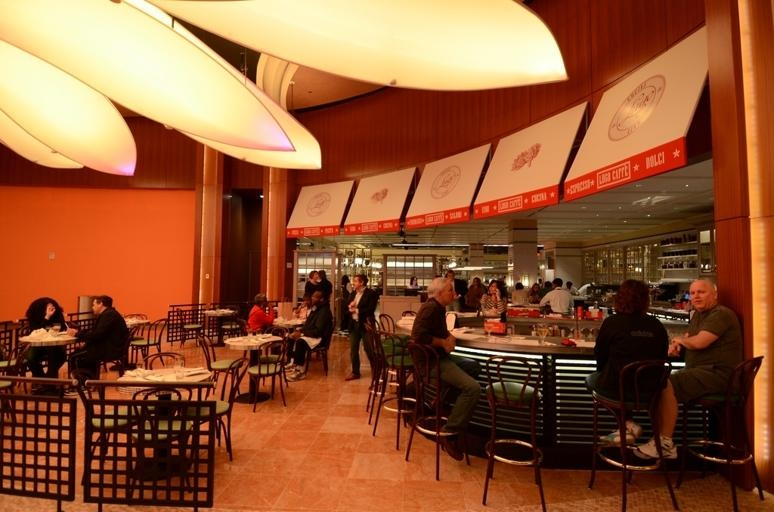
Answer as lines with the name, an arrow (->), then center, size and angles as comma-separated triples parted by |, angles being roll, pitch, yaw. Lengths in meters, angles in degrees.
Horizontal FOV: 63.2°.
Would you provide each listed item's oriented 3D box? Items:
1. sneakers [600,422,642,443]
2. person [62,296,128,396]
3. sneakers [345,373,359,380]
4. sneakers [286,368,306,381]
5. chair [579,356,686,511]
sneakers -> 3.124, 2.353, 8.351 | 0.649, 0.281, 0.242 | -7, -14, 24
person -> -5.163, 1.532, 11.235 | 0.936, 1.660, 0.841 | 2, -8, -13
sneakers -> -0.670, 2.344, 12.196 | 0.279, 0.102, 0.107 | 6, -9, -29
sneakers -> -1.776, 2.312, 12.230 | 0.157, 0.165, 0.389 | -1, -16, 24
chair -> 3.219, 2.328, 8.378 | 1.114, 1.939, 0.988 | -3, -3, 19
